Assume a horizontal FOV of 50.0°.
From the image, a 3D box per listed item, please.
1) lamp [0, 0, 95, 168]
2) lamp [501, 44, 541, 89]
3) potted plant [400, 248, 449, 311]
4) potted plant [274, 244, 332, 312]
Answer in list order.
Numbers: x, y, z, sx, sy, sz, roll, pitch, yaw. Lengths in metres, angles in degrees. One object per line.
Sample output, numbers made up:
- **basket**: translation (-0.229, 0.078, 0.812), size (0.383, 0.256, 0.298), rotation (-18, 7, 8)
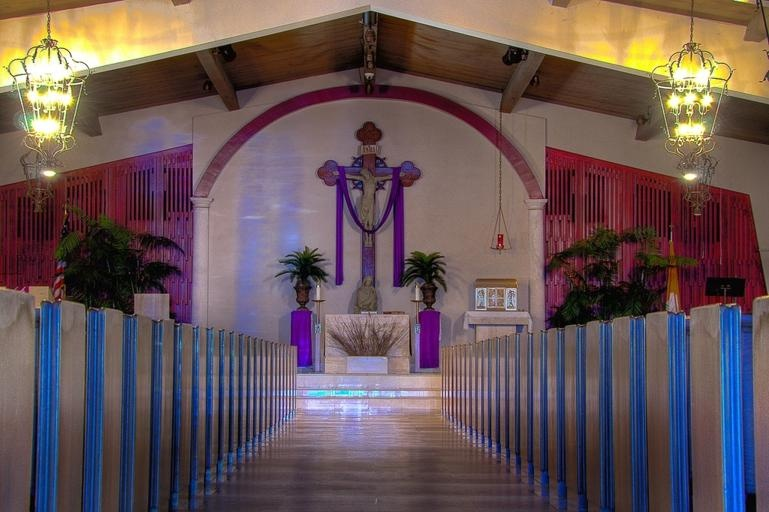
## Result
- **lamp**: translation (-4.419, -2.039, 10.745), size (0.964, 2.213, 3.388), rotation (4, -8, -21)
- **lamp**: translation (2.143, -3.175, 13.237), size (0.289, 0.374, 0.872), rotation (11, 7, -4)
- **potted plant**: translation (0.704, 0.382, 14.877), size (0.920, 1.156, 0.968), rotation (1, 0, -28)
- **potted plant**: translation (-1.306, 0.405, 15.267), size (1.069, 1.196, 1.059), rotation (3, -3, -36)
